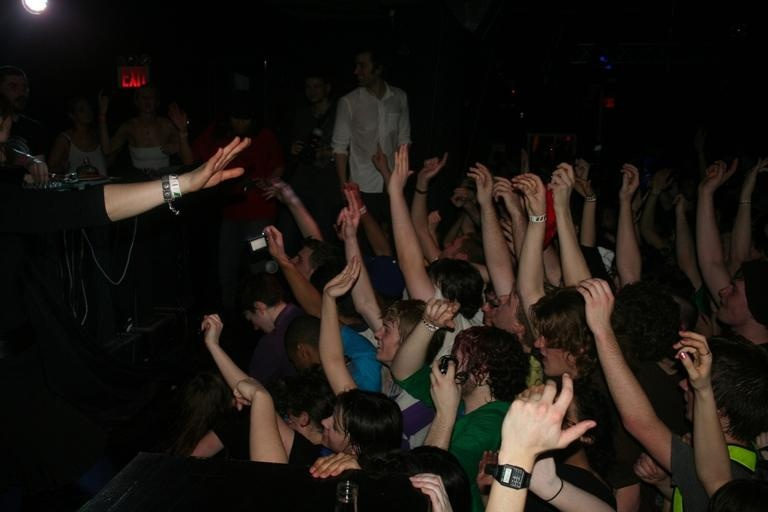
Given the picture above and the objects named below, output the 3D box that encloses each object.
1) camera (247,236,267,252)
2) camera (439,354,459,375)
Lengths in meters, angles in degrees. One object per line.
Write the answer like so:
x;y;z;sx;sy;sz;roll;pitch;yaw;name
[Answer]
-0.913;-0.097;4.269;0.133;0.100;0.190;-16;-1;16;camera
0.342;0.587;3.060;0.095;0.115;0.240;-1;8;-1;camera
